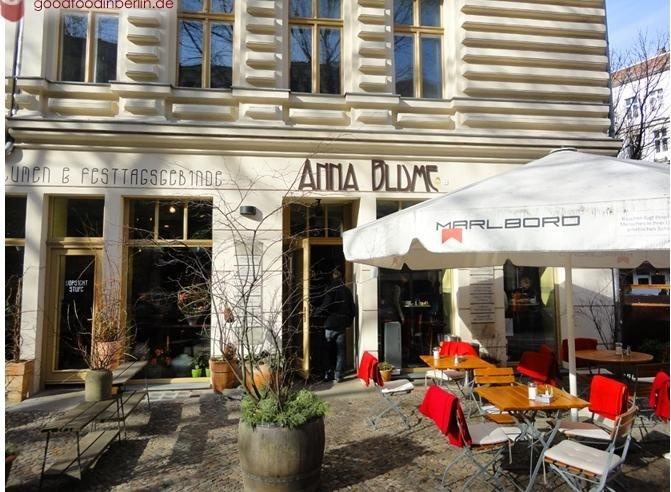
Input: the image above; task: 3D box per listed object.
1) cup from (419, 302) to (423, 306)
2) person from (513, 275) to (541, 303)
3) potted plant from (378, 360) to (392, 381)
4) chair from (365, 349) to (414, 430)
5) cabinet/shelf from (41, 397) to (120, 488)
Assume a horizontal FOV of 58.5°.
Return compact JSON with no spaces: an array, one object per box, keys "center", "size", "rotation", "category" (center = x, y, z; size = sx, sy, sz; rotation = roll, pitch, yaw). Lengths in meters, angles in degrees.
[{"center":[1.908,1.290,13.474],"size":[0.104,0.107,0.058],"rotation":[0,3,5],"category":"cup"},{"center":[4.352,0.967,13.777],"size":[0.567,0.973,0.321],"rotation":[-2,-2,-5],"category":"person"},{"center":[1.021,2.562,12.337],"size":[0.396,0.308,0.405],"rotation":[0,-10,-2],"category":"potted plant"},{"center":[0.985,2.636,10.783],"size":[0.906,1.140,0.982],"rotation":[0,-4,22],"category":"chair"},{"center":[-3.904,3.011,9.245],"size":[1.138,1.049,1.756],"rotation":[0,-4,-20],"category":"cabinet/shelf"}]
